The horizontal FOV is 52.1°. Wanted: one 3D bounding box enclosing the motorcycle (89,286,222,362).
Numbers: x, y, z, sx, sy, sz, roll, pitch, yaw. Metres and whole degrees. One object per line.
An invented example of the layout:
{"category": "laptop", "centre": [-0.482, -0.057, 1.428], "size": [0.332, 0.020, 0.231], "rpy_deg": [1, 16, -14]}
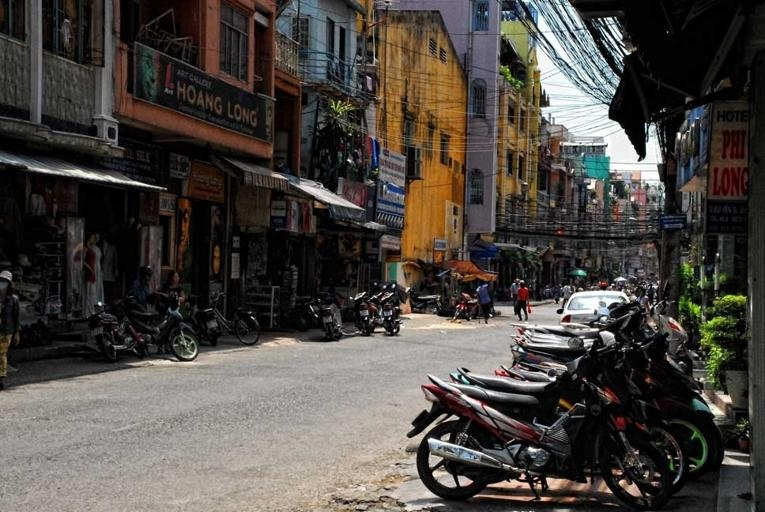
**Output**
{"category": "motorcycle", "centre": [-4.948, 1.492, 16.446], "size": [2.026, 1.422, 1.410], "rpy_deg": [1, -5, -22]}

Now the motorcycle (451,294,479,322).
{"category": "motorcycle", "centre": [3.586, 2.212, 33.799], "size": [0.791, 0.995, 1.518], "rpy_deg": [-6, -5, 36]}

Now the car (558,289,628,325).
{"category": "car", "centre": [4.933, 1.159, 18.769], "size": [1.353, 0.891, 2.601], "rpy_deg": [-1, 5, 9]}

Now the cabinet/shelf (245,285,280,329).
{"category": "cabinet/shelf", "centre": [-3.428, 1.491, 22.684], "size": [1.113, 1.991, 0.614], "rpy_deg": [1, 2, 33]}

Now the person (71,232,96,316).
{"category": "person", "centre": [-6.494, 0.399, 17.063], "size": [0.260, 1.826, 0.764], "rpy_deg": [-1, -4, 10]}

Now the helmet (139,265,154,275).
{"category": "helmet", "centre": [-5.364, 0.283, 17.815], "size": [0.274, 0.246, 0.308], "rpy_deg": [-14, -14, 7]}

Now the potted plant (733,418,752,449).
{"category": "potted plant", "centre": [4.628, 2.294, 10.118], "size": [0.158, 0.383, 0.426], "rpy_deg": [-2, -5, 20]}

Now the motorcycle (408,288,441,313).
{"category": "motorcycle", "centre": [2.141, 2.223, 38.179], "size": [1.503, 1.026, 0.959], "rpy_deg": [3, 3, 17]}

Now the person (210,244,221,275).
{"category": "person", "centre": [-4.865, 0.083, 22.988], "size": [0.123, 0.838, 0.542], "rpy_deg": [-1, -4, 12]}

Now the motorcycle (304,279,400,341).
{"category": "motorcycle", "centre": [-1.057, 1.681, 23.649], "size": [1.300, 1.583, 2.734], "rpy_deg": [-4, 1, 30]}
